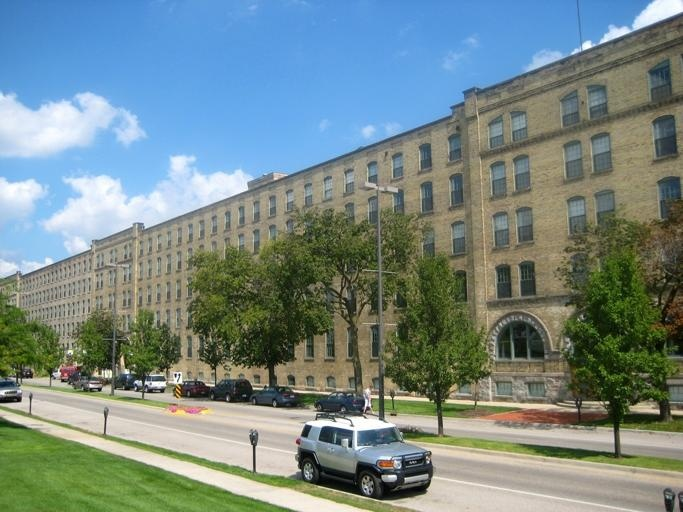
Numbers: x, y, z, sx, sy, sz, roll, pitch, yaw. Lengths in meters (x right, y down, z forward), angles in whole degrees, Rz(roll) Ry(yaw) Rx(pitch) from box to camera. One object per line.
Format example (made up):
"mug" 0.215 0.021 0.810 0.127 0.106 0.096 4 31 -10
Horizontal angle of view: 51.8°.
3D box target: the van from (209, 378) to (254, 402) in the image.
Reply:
"van" -9.267 11.381 59.578 3.695 1.875 1.580 -14 -21 42

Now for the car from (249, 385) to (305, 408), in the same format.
"car" -5.167 10.898 54.501 1.482 1.783 4.410 15 -21 -42

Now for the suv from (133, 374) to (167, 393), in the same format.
"suv" -19.101 12.738 70.338 2.016 1.625 3.431 6 -6 -42
